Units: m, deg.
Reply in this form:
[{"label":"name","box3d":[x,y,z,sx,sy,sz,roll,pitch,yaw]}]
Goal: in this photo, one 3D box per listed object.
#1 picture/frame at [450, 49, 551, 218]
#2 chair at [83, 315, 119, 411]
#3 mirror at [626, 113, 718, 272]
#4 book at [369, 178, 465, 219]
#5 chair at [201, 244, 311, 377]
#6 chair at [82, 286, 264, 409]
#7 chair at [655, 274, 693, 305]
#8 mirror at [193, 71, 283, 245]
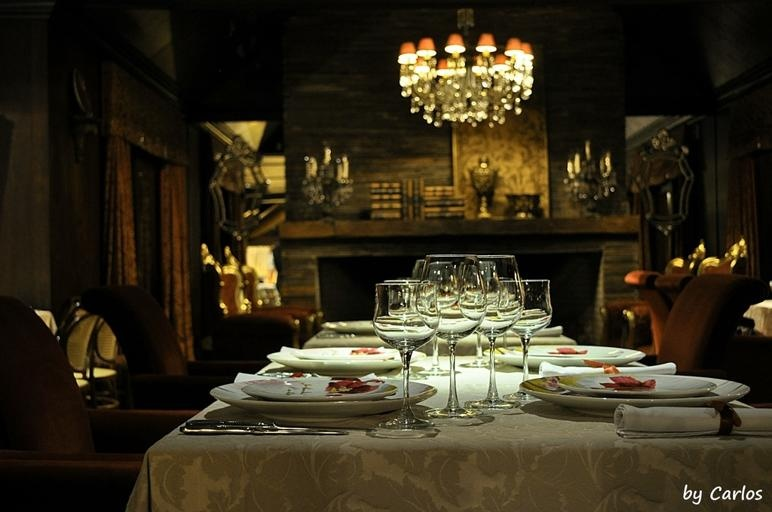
[{"label":"picture/frame","box3d":[1.220,-0.995,7.976,0.977,1.303,0.084,-4,41,8]},{"label":"chair","box3d":[-1.971,0.710,5.175,0.272,0.607,0.271,8,14,-1]},{"label":"mirror","box3d":[3.277,-0.779,8.695,0.935,1.796,2.075,-2,-5,18]},{"label":"book","box3d":[0.313,-0.583,7.855,0.964,0.435,0.090,-2,-4,6]},{"label":"chair","box3d":[-1.037,0.532,6.636,0.792,1.193,0.888,-4,3,-2]},{"label":"chair","box3d":[-0.841,0.348,3.202,0.666,0.669,0.476,-1,1,-3]},{"label":"chair","box3d":[1.561,0.160,4.044,0.163,0.187,0.214,2,2,-21]},{"label":"mirror","box3d":[-1.721,-0.859,9.055,0.261,1.495,1.863,8,11,14]}]
